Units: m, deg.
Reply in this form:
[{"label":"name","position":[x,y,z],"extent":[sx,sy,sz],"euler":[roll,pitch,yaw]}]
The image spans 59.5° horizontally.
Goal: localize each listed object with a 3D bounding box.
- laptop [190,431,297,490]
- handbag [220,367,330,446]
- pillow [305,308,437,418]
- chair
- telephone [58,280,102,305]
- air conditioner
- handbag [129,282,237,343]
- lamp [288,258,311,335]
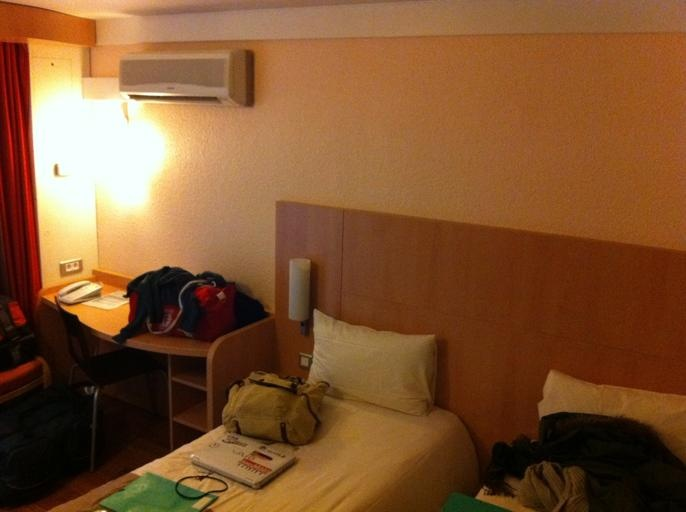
[{"label":"laptop","position":[-0.494,1.027,3.013],"extent":[0.473,0.075,0.287],"euler":[7,13,25]},{"label":"handbag","position":[-0.364,0.814,3.208],"extent":[0.368,0.147,0.385],"euler":[7,23,10]},{"label":"pillow","position":[0.155,0.653,3.594],"extent":[0.819,0.535,0.255],"euler":[6,6,26]},{"label":"chair","position":[-1.532,0.820,4.137],"extent":[0.628,1.049,0.577],"euler":[-10,14,-37]},{"label":"telephone","position":[-1.897,0.261,4.331],"extent":[0.164,0.078,0.218],"euler":[7,15,34]},{"label":"air conditioner","position":[-1.037,-1.175,3.979],"extent":[0.941,0.346,0.210],"euler":[6,13,24]},{"label":"handbag","position":[-0.954,0.374,3.812],"extent":[0.427,0.186,0.443],"euler":[0,7,8]},{"label":"lamp","position":[-0.273,0.261,3.819],"extent":[0.149,0.504,0.211],"euler":[0,12,-5]}]
